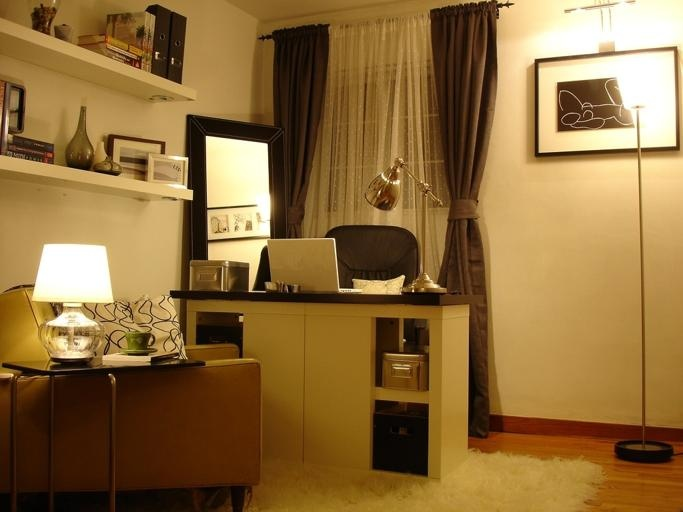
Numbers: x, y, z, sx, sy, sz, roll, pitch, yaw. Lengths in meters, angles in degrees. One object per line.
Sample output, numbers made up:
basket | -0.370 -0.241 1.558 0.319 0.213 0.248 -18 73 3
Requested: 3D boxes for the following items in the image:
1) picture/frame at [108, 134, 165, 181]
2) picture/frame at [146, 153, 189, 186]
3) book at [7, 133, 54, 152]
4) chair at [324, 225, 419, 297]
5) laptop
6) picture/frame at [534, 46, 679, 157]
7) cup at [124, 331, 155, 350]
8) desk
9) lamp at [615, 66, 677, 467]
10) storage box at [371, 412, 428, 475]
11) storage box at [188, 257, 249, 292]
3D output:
picture/frame | -1.468 -0.686 4.029 0.028 0.290 0.366 -2 1 35
picture/frame | -1.282 -0.623 4.151 0.246 0.207 0.026 3 -8 -44
book | -1.824 -0.655 3.316 0.143 0.043 0.162 4 3 33
chair | 0.283 0.141 4.634 0.527 0.654 0.506 0 -19 2
laptop | -0.187 0.010 3.636 0.453 0.380 0.328 1 5 22
picture/frame | 2.050 -1.157 4.286 0.820 0.694 0.032 0 1 31
cup | -0.974 0.403 2.737 0.109 0.088 0.096 1 -5 -4
desk | -1.074 0.610 2.711 0.558 0.830 0.801 -2 -4 19
lamp | 2.105 0.036 3.938 0.340 2.606 0.678 0 -2 31
storage box | 0.349 1.095 3.283 0.286 0.293 0.303 0 -11 10
storage box | -0.848 0.141 3.954 0.250 0.185 0.271 0 -2 13
